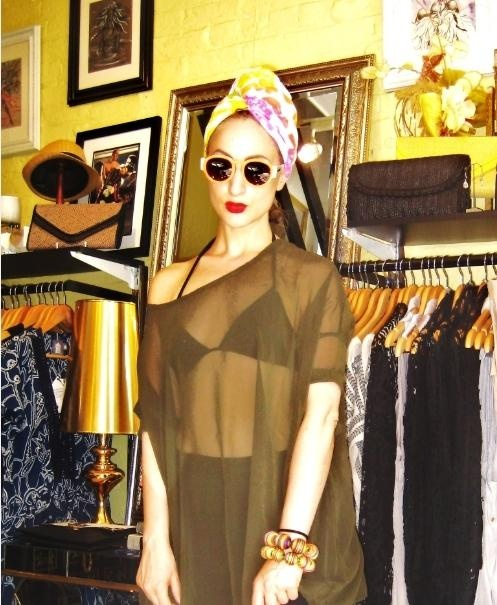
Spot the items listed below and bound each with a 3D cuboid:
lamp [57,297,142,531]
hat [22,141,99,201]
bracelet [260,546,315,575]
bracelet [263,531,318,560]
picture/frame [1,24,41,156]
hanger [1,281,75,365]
[{"bbox_3d":[-0.408,0.312,1.958,0.192,0.594,0.390,2,0,-14],"label":"lamp"},{"bbox_3d":[-0.656,-0.442,2.503,0.264,0.204,0.280,2,0,-36],"label":"hat"},{"bbox_3d":[0.061,0.352,1.018,0.048,0.016,0.044,3,-6,22],"label":"bracelet"},{"bbox_3d":[0.059,0.333,1.028,0.052,0.018,0.048,2,-9,20],"label":"bracelet"},{"bbox_3d":[-0.965,-0.889,3.066,0.269,0.517,0.074,2,0,37],"label":"picture/frame"},{"bbox_3d":[-0.635,0.065,2.177,0.267,0.147,0.071,-2,-2,40],"label":"hanger"}]
